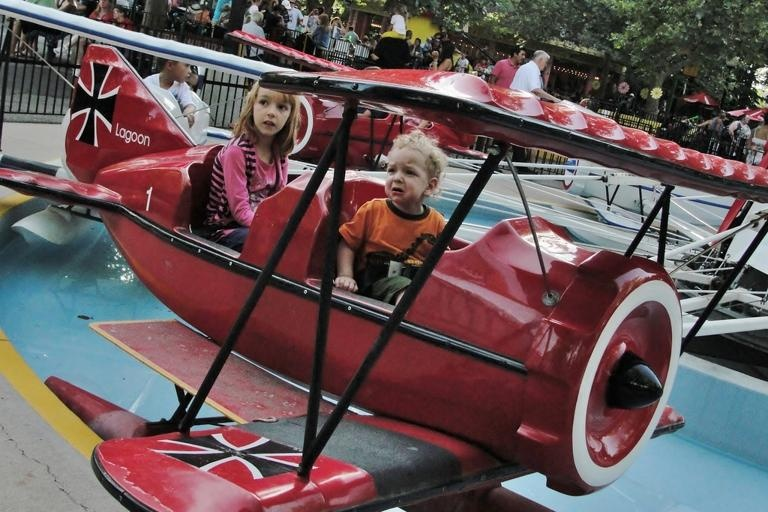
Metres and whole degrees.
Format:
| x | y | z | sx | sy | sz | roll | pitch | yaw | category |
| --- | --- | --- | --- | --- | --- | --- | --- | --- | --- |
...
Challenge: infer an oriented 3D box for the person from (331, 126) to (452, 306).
| x | y | z | sx | sy | sz | roll | pitch | yaw | category |
| --- | --- | --- | --- | --- | --- | --- | --- | --- | --- |
| 0.055 | -0.256 | 3.976 | 0.631 | 1.035 | 0.432 | 9 | 9 | 4 | person |

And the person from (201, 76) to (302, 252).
| x | y | z | sx | sy | sz | roll | pitch | yaw | category |
| --- | --- | --- | --- | --- | --- | --- | --- | --- | --- |
| -0.974 | -0.658 | 4.886 | 0.612 | 1.194 | 0.512 | 6 | 9 | -17 | person |
